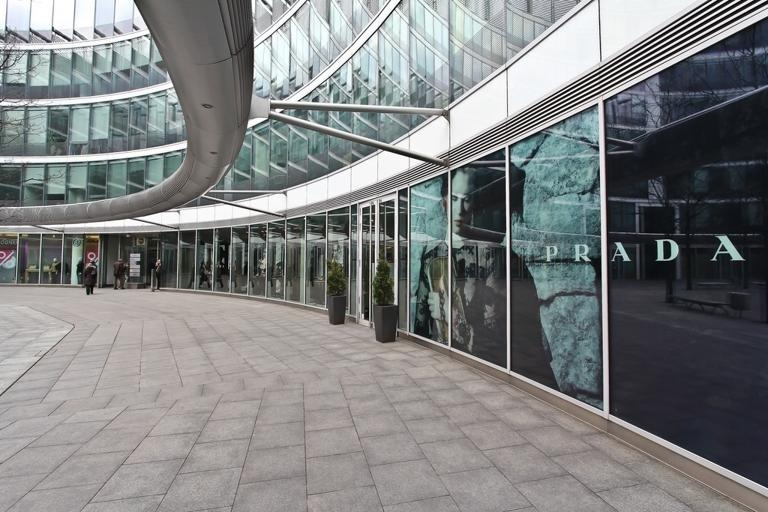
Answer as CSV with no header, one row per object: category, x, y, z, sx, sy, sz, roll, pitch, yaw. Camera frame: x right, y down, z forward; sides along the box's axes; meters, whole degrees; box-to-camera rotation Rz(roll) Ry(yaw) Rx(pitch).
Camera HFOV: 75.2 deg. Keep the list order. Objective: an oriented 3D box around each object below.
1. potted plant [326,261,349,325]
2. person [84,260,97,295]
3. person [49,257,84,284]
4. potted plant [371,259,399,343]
potted plant,-1.377,1.019,14.071,0.511,1.808,0.738,-1,2,-8
person,-15.092,1.162,25.507,0.492,1.452,1.771,-2,2,-34
person,-19.678,0.801,30.835,1.618,1.563,0.878,0,0,-7
potted plant,0.012,0.999,11.552,0.563,1.963,0.313,-1,2,0
